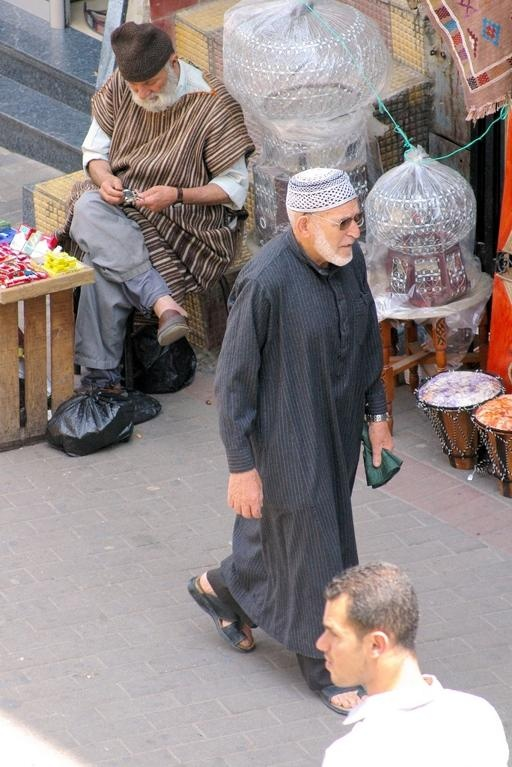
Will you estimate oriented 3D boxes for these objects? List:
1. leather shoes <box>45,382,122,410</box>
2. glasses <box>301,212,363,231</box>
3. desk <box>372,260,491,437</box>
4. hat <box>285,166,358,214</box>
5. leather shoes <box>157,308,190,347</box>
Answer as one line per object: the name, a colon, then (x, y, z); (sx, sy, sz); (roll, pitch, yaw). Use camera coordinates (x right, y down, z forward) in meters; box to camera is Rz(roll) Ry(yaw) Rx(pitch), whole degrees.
leather shoes: (-1.083, 0.061, 4.995); (0.351, 0.088, 0.248); (-13, 20, -28)
glasses: (0.249, -0.553, 2.629); (0.108, 0.029, 0.101); (17, 27, 39)
desk: (1.123, -0.183, 4.932); (0.757, 0.672, 0.711); (1, 21, 46)
hat: (0.213, -0.656, 2.678); (0.216, 0.088, 0.191); (-16, 22, -6)
leather shoes: (-0.525, -0.353, 4.885); (0.144, 0.106, 0.272); (-21, -12, -7)
